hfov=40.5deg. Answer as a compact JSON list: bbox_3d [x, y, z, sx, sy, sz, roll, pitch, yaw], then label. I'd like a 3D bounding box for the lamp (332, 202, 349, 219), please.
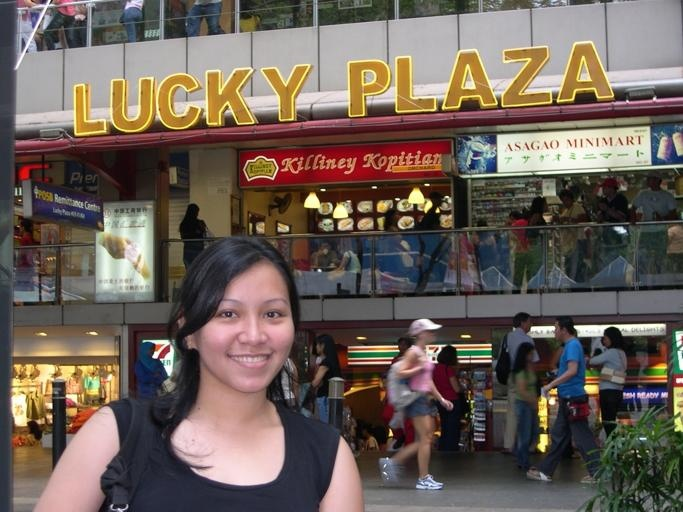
[{"bbox_3d":[-0.044,-0.943,19.087,0.290,0.349,0.305,-3,3,-12],"label":"lamp"}]

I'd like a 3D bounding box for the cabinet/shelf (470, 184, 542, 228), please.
[{"bbox_3d":[2.988,-0.945,16.786,0.767,0.811,0.284,0,0,16],"label":"cabinet/shelf"}]

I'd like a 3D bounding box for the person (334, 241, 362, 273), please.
[{"bbox_3d":[0.090,0.031,14.738,0.367,0.752,0.590,2,1,-3],"label":"person"}]

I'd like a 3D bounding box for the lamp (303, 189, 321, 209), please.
[{"bbox_3d":[-0.639,-1.156,19.119,0.317,0.592,0.296,-4,11,-21],"label":"lamp"}]

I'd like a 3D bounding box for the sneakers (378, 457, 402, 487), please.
[{"bbox_3d":[0.576,2.691,11.316,0.179,0.551,0.230,-16,30,6],"label":"sneakers"}]

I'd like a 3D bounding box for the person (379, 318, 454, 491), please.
[{"bbox_3d":[0.798,1.765,10.806,0.696,2.083,0.709,-1,5,6],"label":"person"}]

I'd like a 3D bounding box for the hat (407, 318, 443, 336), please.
[{"bbox_3d":[0.929,0.812,10.683,0.339,0.199,0.253,-12,3,6],"label":"hat"}]

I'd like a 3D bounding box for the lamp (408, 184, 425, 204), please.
[{"bbox_3d":[1.452,-1.234,18.307,0.290,0.367,0.314,-2,0,4],"label":"lamp"}]

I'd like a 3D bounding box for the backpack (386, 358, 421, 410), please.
[{"bbox_3d":[0.659,1.447,10.554,0.353,0.525,0.177,7,-5,-23],"label":"backpack"}]

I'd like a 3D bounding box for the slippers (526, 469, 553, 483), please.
[{"bbox_3d":[2.403,2.724,11.480,0.297,0.148,0.121,13,0,35],"label":"slippers"}]

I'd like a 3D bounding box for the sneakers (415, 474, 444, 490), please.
[{"bbox_3d":[1.021,2.693,11.040,0.335,0.197,0.149,-1,-6,15],"label":"sneakers"}]

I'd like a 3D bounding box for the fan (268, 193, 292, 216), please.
[{"bbox_3d":[-1.295,-1.086,19.053,0.475,0.448,0.284,-2,6,-5],"label":"fan"}]

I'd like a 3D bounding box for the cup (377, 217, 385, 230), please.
[{"bbox_3d":[0.739,-0.656,18.780,0.163,0.242,0.081,1,-1,20],"label":"cup"}]

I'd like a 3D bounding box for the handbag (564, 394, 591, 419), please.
[{"bbox_3d":[2.728,1.768,10.897,0.261,0.264,0.235,3,-5,-43],"label":"handbag"}]

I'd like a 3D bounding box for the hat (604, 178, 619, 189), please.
[{"bbox_3d":[4.355,-1.197,15.156,0.198,0.153,0.283,-2,14,-22],"label":"hat"}]
